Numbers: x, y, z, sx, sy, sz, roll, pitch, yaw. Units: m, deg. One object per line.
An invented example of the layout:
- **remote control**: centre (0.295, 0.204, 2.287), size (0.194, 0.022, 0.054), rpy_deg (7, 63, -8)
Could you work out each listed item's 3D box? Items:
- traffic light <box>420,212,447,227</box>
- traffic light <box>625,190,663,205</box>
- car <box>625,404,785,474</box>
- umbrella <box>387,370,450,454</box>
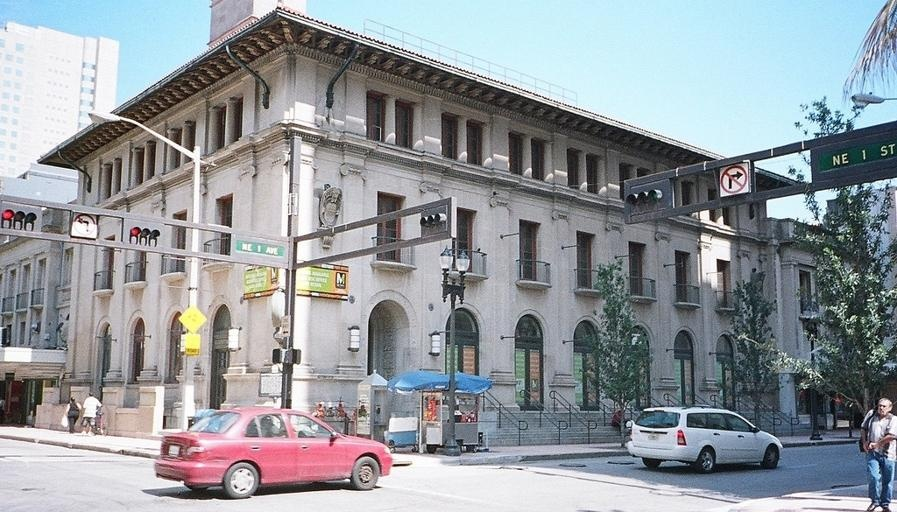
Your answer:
- **traffic light**: centre (-0.706, -1.729, 50.057), size (1.339, 0.676, 0.254), rpy_deg (-9, -18, 29)
- **traffic light**: centre (9.035, -2.681, 47.929), size (1.288, 0.425, 0.702), rpy_deg (-5, -12, 41)
- **car**: centre (13.500, 9.525, 54.455), size (8.582, 2.941, 3.886), rpy_deg (7, -9, -37)
- **umbrella**: centre (-1.310, 8.632, 57.780), size (2.744, 4.491, 2.394), rpy_deg (2, 3, 32)
